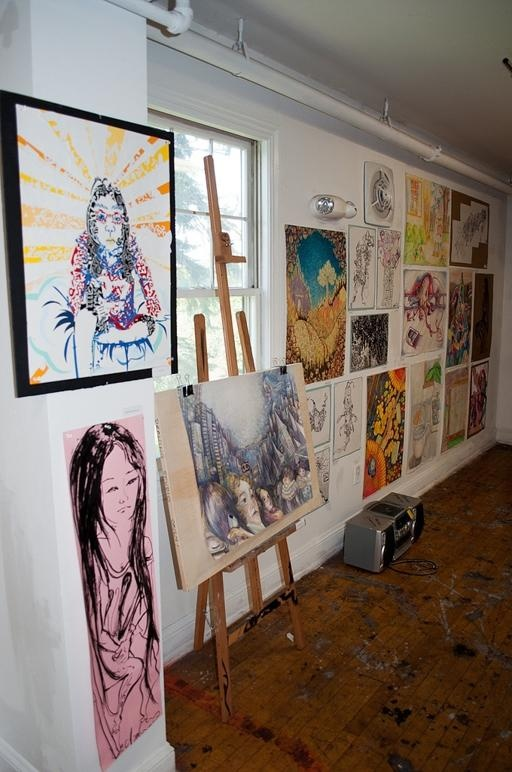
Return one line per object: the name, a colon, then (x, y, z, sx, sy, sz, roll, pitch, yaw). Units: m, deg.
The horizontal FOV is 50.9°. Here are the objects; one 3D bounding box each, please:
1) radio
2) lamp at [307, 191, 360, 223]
radio: (0.831, 0.899, 3.369, 0.245, 0.306, 0.529, 10, 19, 43)
lamp: (0.414, -0.960, 2.891, 0.128, 0.124, 0.296, 6, 9, 39)
